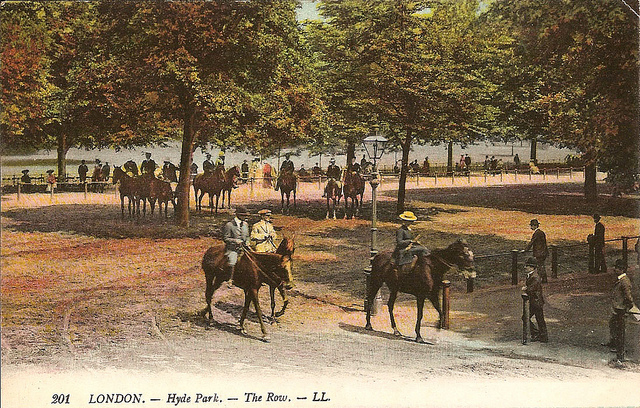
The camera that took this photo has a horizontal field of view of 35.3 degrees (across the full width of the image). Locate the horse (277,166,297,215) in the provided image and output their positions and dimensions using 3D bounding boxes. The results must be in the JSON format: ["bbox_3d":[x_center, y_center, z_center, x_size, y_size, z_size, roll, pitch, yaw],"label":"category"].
[{"bbox_3d":[-1.874,-0.733,56.088,1.012,2.631,1.818,-1,0,-1],"label":"horse"}]

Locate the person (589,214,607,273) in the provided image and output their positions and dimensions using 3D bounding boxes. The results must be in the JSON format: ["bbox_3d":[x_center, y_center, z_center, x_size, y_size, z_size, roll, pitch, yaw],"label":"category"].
[{"bbox_3d":[12.538,1.799,45.357,0.595,2.677,1.226,-1,0,23],"label":"person"}]

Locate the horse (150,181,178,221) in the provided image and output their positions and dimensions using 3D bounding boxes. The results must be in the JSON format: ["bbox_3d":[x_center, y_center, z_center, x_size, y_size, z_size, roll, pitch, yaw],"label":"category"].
[{"bbox_3d":[-8.236,-0.138,52.414,1.292,2.014,2.293,0,0,-21],"label":"horse"}]

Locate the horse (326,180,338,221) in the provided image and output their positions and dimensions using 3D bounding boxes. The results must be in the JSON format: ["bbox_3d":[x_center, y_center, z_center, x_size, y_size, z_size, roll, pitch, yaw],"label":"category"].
[{"bbox_3d":[0.644,-0.186,55.546,0.639,2.222,1.743,-1,0,0],"label":"horse"}]

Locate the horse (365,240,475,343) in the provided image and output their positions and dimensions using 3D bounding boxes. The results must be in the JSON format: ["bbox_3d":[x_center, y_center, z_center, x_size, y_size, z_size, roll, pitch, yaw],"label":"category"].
[{"bbox_3d":[3.959,3.417,40.225,1.614,4.037,5.712,3,0,-42],"label":"horse"}]

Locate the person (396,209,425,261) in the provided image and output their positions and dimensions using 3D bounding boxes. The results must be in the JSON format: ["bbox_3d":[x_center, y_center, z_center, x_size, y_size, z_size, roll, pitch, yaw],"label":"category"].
[{"bbox_3d":[3.531,1.239,40.093,1.132,1.998,0.939,1,0,-14],"label":"person"}]

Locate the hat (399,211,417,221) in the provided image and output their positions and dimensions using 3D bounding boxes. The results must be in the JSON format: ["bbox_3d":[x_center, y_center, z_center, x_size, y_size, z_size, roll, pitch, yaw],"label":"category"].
[{"bbox_3d":[3.384,0.558,39.724,0.488,0.126,0.480,21,27,29],"label":"hat"}]

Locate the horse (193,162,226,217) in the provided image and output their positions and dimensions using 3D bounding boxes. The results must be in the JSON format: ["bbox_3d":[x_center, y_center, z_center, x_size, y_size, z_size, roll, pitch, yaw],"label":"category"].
[{"bbox_3d":[-5.989,-0.855,54.934,0.947,2.400,3.845,2,1,-31],"label":"horse"}]

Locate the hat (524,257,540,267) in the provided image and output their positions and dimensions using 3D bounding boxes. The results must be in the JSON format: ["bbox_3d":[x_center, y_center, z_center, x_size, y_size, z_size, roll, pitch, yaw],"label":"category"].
[{"bbox_3d":[8.314,2.270,39.439,0.431,0.370,0.428,0,0,11],"label":"hat"}]

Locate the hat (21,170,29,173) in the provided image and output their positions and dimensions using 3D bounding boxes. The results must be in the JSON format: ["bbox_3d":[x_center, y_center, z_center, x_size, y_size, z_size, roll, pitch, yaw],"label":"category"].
[{"bbox_3d":[-16.861,-1.848,57.564,0.274,0.144,0.491,-1,0,23],"label":"hat"}]

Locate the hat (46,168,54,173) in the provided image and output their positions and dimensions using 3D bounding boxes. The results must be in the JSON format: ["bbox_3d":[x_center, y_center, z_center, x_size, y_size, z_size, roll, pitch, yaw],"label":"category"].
[{"bbox_3d":[-15.365,-1.881,57.106,0.266,0.246,0.667,0,0,-2],"label":"hat"}]
